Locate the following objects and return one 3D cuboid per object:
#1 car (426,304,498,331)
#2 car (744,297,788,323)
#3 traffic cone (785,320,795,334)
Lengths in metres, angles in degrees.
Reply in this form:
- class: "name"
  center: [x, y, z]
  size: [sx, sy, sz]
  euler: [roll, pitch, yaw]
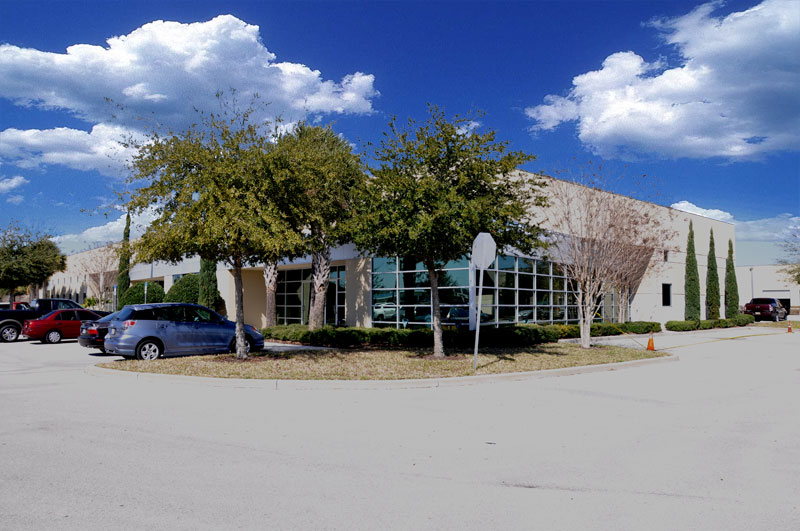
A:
- class: "car"
  center: [2.894, 2.287, 23.979]
  size: [2.274, 0.731, 1.340]
  euler: [-1, 0, -9]
- class: "car"
  center: [31.527, 4.102, 46.849]
  size: [2.477, 1.948, 5.454]
  euler: [-1, -2, 37]
- class: "traffic cone"
  center: [27.624, 4.365, 38.522]
  size: [0.725, 0.822, 0.723]
  euler: [-2, 3, -25]
